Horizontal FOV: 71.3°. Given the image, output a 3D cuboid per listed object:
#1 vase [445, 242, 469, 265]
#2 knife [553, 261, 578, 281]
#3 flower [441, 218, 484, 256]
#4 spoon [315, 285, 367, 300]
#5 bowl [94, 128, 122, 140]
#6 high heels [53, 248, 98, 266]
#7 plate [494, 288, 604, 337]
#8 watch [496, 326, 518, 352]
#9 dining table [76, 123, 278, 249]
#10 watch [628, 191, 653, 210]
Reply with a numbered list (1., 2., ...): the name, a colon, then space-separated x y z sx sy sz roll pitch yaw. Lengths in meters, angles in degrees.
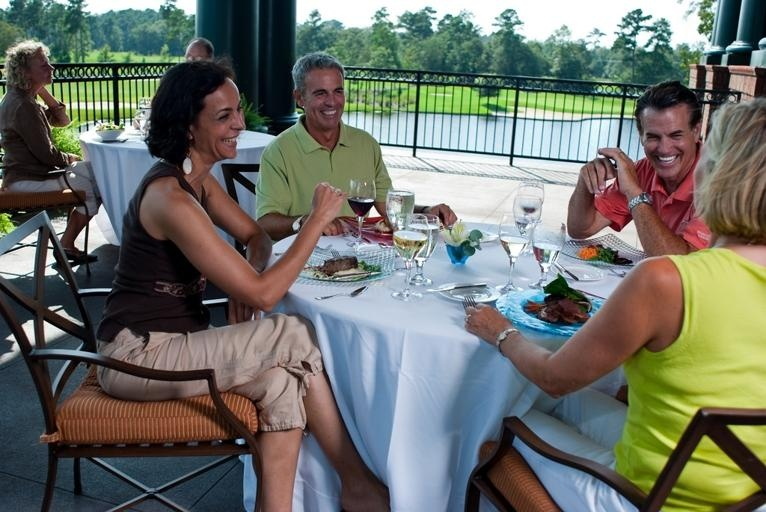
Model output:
1. vase: 0.301 -0.012 2.167 0.078 0.068 0.080 -1 6 -5
2. knife: 0.711 0.052 2.107 0.021 0.021 0.179 11 16 -20
3. flower: 0.325 -0.085 2.189 0.138 0.115 0.136 3 17 32
4. spoon: -0.152 0.132 1.907 0.151 0.030 0.032 -3 19 -26
5. bowl: -2.241 -0.983 4.331 0.118 0.050 0.123 0 10 0
6. high heels: -2.140 0.009 3.700 0.374 0.101 0.183 0 9 -1
7. plate: 0.475 0.193 1.747 0.201 0.029 0.203 -7 21 -28
8. watch: 0.372 0.247 1.644 0.064 0.065 0.070 -15 49 33
9. dining table: -1.753 -0.423 4.527 1.267 0.896 1.134 0 9 -18
10. watch: 1.124 -0.238 2.329 0.098 0.067 0.095 4 -24 -45
